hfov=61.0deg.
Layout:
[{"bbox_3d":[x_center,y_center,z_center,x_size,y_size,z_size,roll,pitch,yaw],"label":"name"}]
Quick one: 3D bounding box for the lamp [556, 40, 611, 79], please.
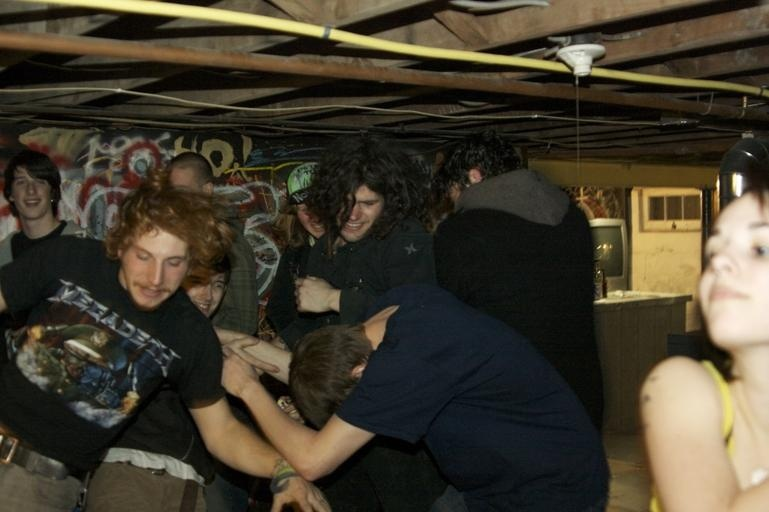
[{"bbox_3d":[1.183,-1.159,3.865,0.267,0.125,0.253,-2,-5,22],"label":"lamp"}]
